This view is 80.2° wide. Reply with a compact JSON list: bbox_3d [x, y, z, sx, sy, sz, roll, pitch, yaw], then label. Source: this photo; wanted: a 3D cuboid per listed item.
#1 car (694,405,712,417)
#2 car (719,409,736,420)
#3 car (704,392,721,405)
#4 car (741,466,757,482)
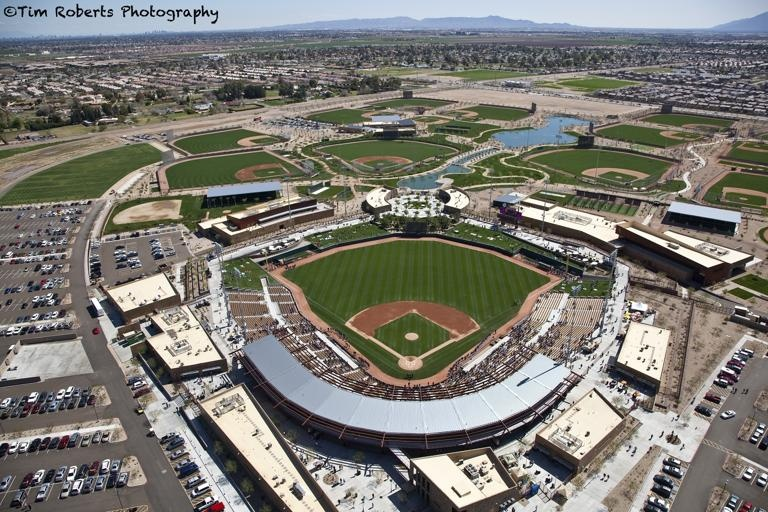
[{"bbox_3d":[55.156,26.797,78.918,2.090,0.796,2.394,-23,42,-35],"label":"car"},{"bbox_3d":[59.224,27.581,78.777,2.968,0.713,1.101,-13,42,-8],"label":"car"},{"bbox_3d":[58.138,25.262,80.860,2.416,0.742,1.895,29,41,33],"label":"car"},{"bbox_3d":[57.209,34.325,71.632,1.316,0.896,2.761,4,26,45],"label":"car"}]
